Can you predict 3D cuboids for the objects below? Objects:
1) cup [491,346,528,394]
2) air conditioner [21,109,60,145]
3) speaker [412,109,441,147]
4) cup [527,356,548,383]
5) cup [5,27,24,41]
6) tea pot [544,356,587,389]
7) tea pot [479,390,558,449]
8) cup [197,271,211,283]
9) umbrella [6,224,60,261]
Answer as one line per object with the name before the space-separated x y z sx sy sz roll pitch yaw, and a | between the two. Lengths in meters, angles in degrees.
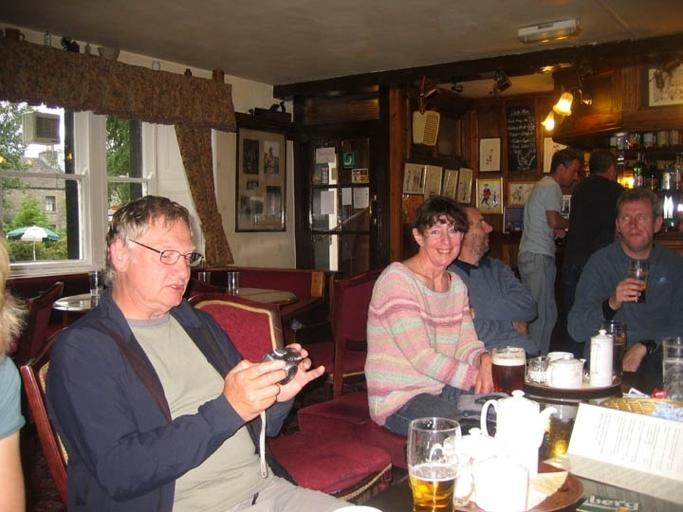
cup | 0.604 0.438 2.101 0.115 0.182 0.166 0 7 17
air conditioner | -2.690 -1.143 5.149 0.107 0.279 0.312 3 8 32
speaker | 0.897 -1.377 6.181 0.256 0.354 0.203 -2 7 -4
cup | 0.780 0.458 2.312 0.108 0.111 0.068 1 -2 9
cup | -2.553 -1.715 4.477 0.136 0.098 0.084 -8 9 -42
tea pot | 0.870 0.452 2.255 0.133 0.090 0.093 -5 4 -32
tea pot | 0.536 0.511 1.841 0.246 0.200 0.152 -1 -4 8
cup | -1.104 0.166 4.584 0.096 0.109 0.099 1 5 0
umbrella | -2.794 -0.137 5.182 0.291 0.266 0.299 1 15 -11
